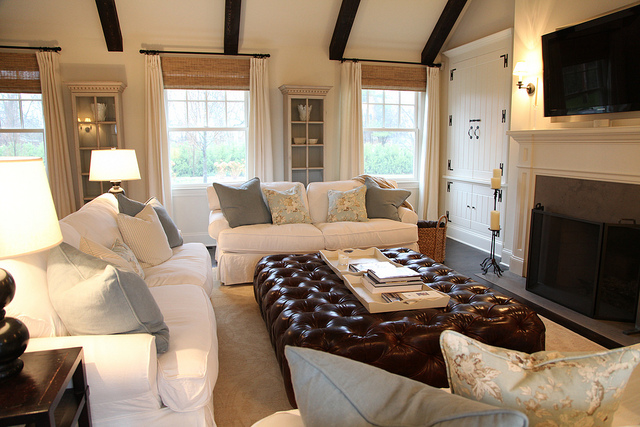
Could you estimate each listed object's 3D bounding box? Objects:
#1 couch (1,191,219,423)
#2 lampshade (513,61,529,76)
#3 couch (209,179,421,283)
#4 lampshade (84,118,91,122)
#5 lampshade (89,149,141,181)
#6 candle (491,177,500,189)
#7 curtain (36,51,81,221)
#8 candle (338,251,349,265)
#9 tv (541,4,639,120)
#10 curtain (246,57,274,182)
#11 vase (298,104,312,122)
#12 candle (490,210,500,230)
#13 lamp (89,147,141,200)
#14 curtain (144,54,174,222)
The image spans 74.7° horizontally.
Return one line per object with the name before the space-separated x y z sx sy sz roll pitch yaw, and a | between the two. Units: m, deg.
couch | -1.232 0.566 2.454 0.585 0.570 1.459 -2 15 -13
lampshade | 2.258 -1.613 4.675 0.174 0.164 0.123 -8 12 -26
couch | -0.054 0.139 5.084 2.407 1.128 1.051 -3 8 -12
lampshade | -3.059 -1.222 5.500 0.044 0.029 0.044 0 1 4
lampshade | -2.002 -0.450 4.088 0.361 0.224 0.346 -3 7 -28
candle | 1.985 -0.331 4.784 0.104 0.115 0.102 -3 6 -15
curtain | -3.559 -0.948 5.556 0.153 2.282 0.459 12 21 9
candle | 0.213 0.388 3.610 0.091 0.065 0.089 -5 14 -22
tv | 2.623 -1.439 4.013 0.093 0.889 1.273 -9 8 -23
curtain | -0.911 -1.336 6.094 0.427 1.762 0.240 -5 12 -12
vase | -0.218 -1.483 6.199 0.193 0.236 0.183 -2 11 5
candle | 1.943 0.077 4.656 0.080 0.199 0.150 0 11 15
lamp | -2.051 -0.443 4.338 0.524 0.685 0.498 -3 11 -19
curtain | -2.375 -1.067 5.908 0.394 2.342 0.171 33 34 30
